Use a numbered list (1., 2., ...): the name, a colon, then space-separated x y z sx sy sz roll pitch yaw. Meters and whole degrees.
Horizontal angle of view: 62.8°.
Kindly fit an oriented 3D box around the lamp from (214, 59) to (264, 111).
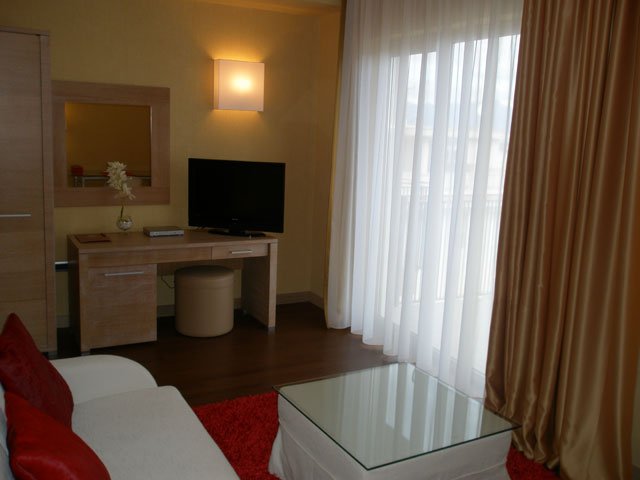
1. lamp: -0.774 -1.439 4.883 0.410 0.444 0.137 -3 8 -31

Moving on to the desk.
1. desk: -1.200 0.370 4.737 1.960 0.876 0.733 -4 13 -27

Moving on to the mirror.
1. mirror: -1.858 -0.867 4.564 0.990 1.187 0.045 -4 10 -28

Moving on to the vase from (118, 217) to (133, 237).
1. vase: -1.686 -0.114 4.590 0.133 0.180 0.135 7 3 33

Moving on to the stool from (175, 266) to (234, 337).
1. stool: -1.061 0.509 4.787 0.495 0.621 0.536 10 16 15

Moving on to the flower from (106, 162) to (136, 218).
1. flower: -1.727 -0.422 4.561 0.113 0.558 0.237 -15 0 20
